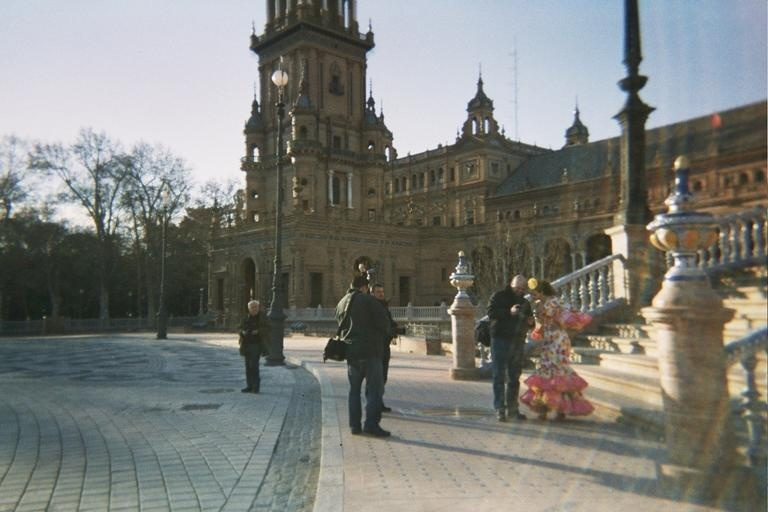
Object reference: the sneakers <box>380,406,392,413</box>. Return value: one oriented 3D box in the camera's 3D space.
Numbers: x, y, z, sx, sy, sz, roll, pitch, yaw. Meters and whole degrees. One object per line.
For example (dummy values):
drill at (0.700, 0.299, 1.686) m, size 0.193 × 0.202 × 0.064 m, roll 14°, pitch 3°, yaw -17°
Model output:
sneakers at (0.030, 2.844, 15.457) m, size 0.187 × 0.180 × 0.086 m, roll 2°, pitch -2°, yaw -17°

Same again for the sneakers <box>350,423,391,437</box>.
sneakers at (-0.219, 2.866, 13.827) m, size 0.677 × 0.259 × 0.232 m, roll -1°, pitch -7°, yaw 9°

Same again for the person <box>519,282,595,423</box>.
person at (2.974, 1.621, 14.618) m, size 1.127 × 2.440 × 0.528 m, roll -2°, pitch -4°, yaw 19°

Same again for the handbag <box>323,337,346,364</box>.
handbag at (-0.867, 1.630, 14.563) m, size 0.331 × 0.462 × 0.430 m, roll 5°, pitch -2°, yaw -6°

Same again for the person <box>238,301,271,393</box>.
person at (-2.903, 1.982, 18.611) m, size 0.643 × 2.006 × 1.248 m, roll 0°, pitch -4°, yaw -9°

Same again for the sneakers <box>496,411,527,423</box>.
sneakers at (2.204, 2.801, 14.525) m, size 0.597 × 0.253 × 0.200 m, roll -2°, pitch -3°, yaw -5°

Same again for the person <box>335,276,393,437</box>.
person at (-0.351, 1.663, 14.274) m, size 0.766 × 2.701 × 1.180 m, roll 0°, pitch -4°, yaw -14°
